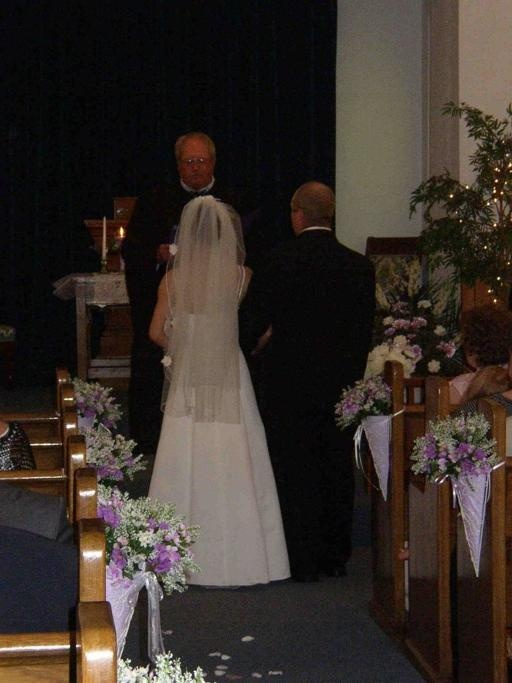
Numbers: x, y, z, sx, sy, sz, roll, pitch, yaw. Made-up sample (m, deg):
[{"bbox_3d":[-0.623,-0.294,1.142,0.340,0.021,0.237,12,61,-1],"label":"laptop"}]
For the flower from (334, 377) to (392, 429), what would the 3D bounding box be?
[{"bbox_3d":[0.393,0.223,2.839,0.199,0.179,0.209,-7,-7,-12],"label":"flower"}]

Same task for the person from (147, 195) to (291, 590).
[{"bbox_3d":[-0.161,0.109,3.210,0.542,1.408,0.415,1,29,1],"label":"person"}]
